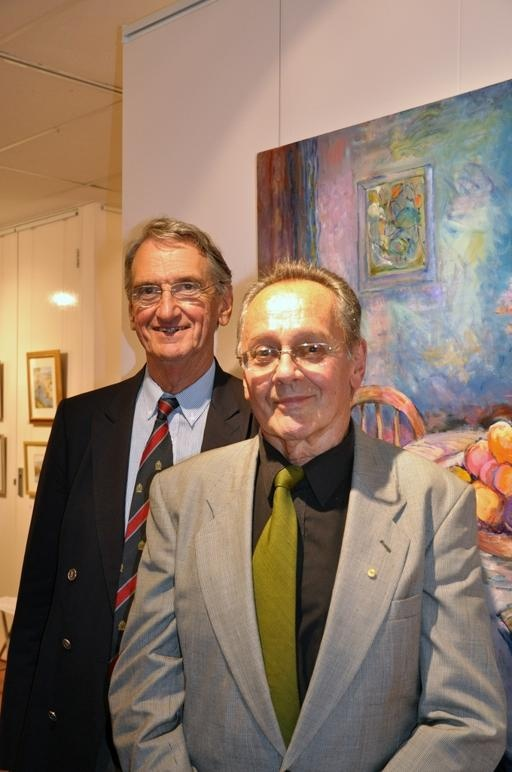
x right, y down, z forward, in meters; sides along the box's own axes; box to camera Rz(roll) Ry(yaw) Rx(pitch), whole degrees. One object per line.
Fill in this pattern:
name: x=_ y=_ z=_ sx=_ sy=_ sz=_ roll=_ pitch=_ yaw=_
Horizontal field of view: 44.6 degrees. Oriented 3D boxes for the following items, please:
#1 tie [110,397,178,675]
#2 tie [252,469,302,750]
tie: x=-0.277 y=0.327 z=1.593 sx=0.073 sy=0.785 sz=0.076 roll=-9 pitch=-26 yaw=45
tie: x=0.037 y=0.385 z=1.122 sx=0.085 sy=0.423 sz=0.201 roll=-4 pitch=4 yaw=2
